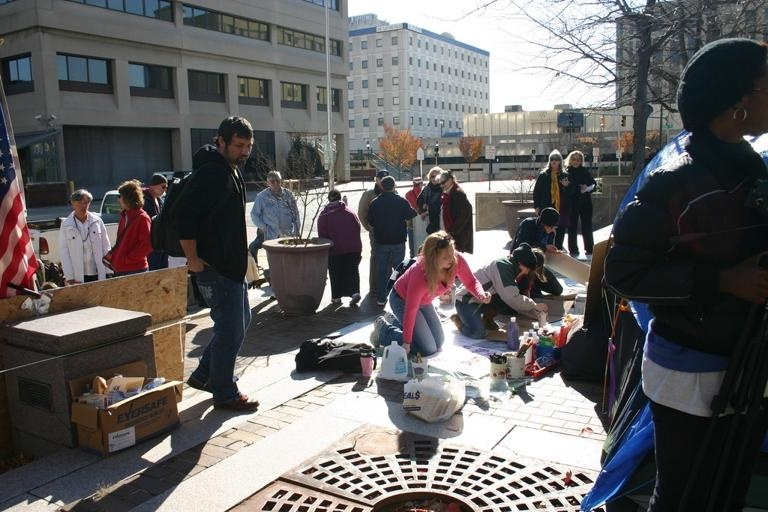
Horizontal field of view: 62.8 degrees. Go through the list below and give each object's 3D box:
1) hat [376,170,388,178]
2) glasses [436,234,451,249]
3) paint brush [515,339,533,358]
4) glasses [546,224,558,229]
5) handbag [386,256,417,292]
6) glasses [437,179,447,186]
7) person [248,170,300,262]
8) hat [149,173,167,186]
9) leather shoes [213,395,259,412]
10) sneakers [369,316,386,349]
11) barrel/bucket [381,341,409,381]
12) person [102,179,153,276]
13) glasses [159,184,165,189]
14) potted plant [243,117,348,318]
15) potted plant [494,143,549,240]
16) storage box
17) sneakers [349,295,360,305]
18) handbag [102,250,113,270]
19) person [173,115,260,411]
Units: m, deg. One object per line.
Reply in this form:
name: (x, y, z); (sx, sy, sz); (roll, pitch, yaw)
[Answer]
hat: (-0.053, -1.447, 11.383); (0.200, 0.181, 0.298); (-2, 17, -8)
glasses: (0.686, -0.166, 7.317); (0.050, 0.163, 0.117); (48, 11, 6)
paint brush: (1.605, 1.055, 7.227); (0.124, 0.215, 0.068); (28, -3, 36)
glasses: (2.517, -0.455, 9.505); (0.156, 0.060, 0.225); (1, 4, 16)
handbag: (0.282, 0.244, 8.767); (0.167, 0.476, 0.329); (35, -4, -26)
glasses: (1.143, -1.476, 12.496); (0.191, 0.218, 0.061); (8, 8, 26)
person: (-2.216, -0.614, 12.186); (0.887, 2.133, 0.572); (-2, 32, -18)
hat: (-3.585, -1.204, 9.969); (0.206, 0.164, 0.218); (5, 5, 3)
leather shoes: (-1.519, 1.524, 6.439); (0.432, 0.190, 0.178); (1, 3, -8)
sneakers: (-0.105, 0.992, 8.189); (0.180, 0.455, 0.148); (15, -6, -7)
barrel/bucket: (0.114, 1.191, 7.280); (0.332, 0.416, 0.330); (4, 7, 0)
person: (-3.625, -0.386, 8.825); (0.619, 1.275, 0.409); (-6, 12, -22)
glasses: (-3.534, -1.109, 9.956); (0.070, 0.039, 0.072); (5, -1, -43)
potted plant: (-1.517, -0.369, 10.371); (1.179, 2.403, 1.176); (-8, 6, -6)
potted plant: (3.946, -1.596, 18.355); (1.089, 2.280, 1.095); (15, 2, 18)
storage box: (-2.400, 1.392, 5.946); (0.691, 0.666, 0.937); (0, 6, 25)
sneakers: (-0.510, 0.744, 10.649); (0.164, 0.177, 0.133); (-1, -5, 1)
handbag: (-3.975, 0.062, 8.995); (0.084, 0.224, 0.210); (21, 3, -29)
person: (-1.705, 0.098, 6.575); (0.849, 2.971, 0.984); (2, 8, -2)
